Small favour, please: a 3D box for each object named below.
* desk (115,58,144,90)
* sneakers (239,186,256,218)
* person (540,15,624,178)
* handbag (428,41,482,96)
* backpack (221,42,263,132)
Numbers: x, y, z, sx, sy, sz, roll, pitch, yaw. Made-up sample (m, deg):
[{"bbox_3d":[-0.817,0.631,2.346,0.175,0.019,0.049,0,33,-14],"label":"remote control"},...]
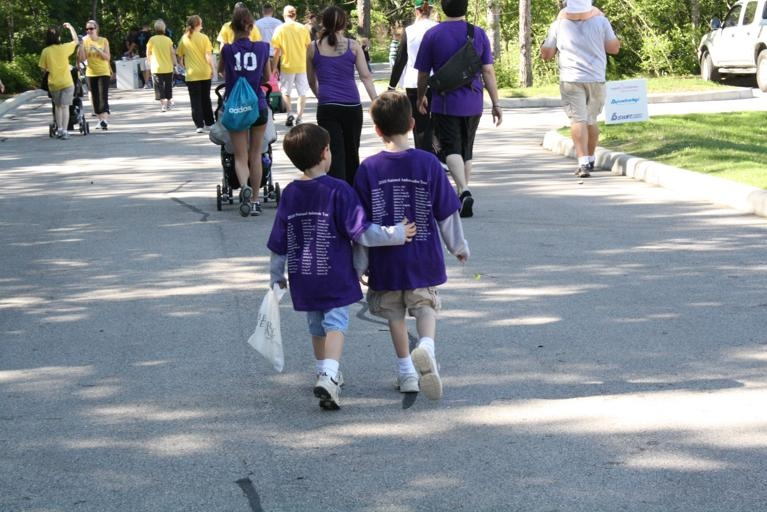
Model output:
[{"bbox_3d":[-9.212,-6.618,33.882,0.823,0.991,1.219,-1,13,2],"label":"desk"},{"bbox_3d":[-1.633,-0.637,10.949,0.178,0.328,0.172,-5,6,-31],"label":"sneakers"},{"bbox_3d":[2.663,-2.199,12.643,0.976,2.208,0.812,0,17,10],"label":"person"},{"bbox_3d":[0.838,-2.069,10.353,0.627,0.465,0.223,-38,28,-7],"label":"handbag"},{"bbox_3d":[-1.605,-1.966,10.741,0.532,1.029,0.528,-4,16,-4],"label":"backpack"}]
